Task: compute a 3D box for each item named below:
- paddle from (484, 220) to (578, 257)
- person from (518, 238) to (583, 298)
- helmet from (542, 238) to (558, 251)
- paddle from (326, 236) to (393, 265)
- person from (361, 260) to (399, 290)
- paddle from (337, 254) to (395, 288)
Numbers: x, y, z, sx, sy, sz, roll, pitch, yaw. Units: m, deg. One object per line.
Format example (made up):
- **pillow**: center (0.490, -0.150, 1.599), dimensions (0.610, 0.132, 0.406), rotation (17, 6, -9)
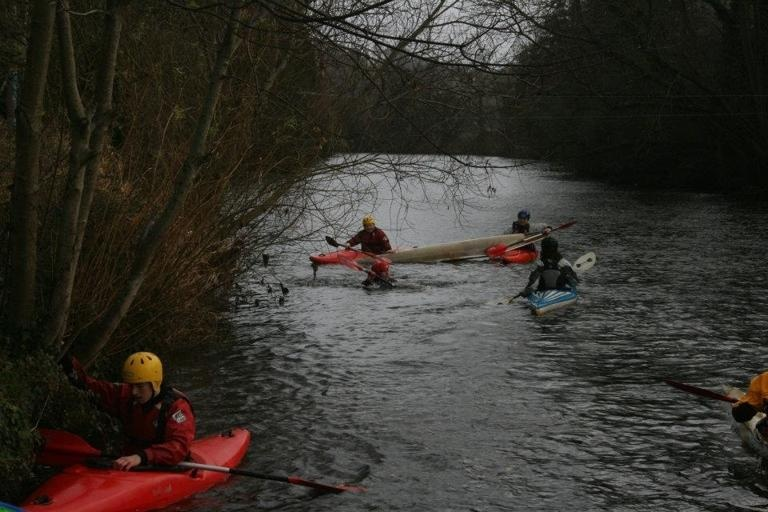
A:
- **paddle**: center (4.478, -0.530, 22.367), dimensions (4.508, 0.413, 0.721), rotation (-13, 36, -24)
- **person**: center (3.606, 0.254, 15.797), dimensions (0.785, 1.365, 0.892), rotation (-2, 11, -37)
- **helmet**: center (3.531, -0.261, 15.674), dimensions (0.293, 0.320, 0.312), rotation (5, 8, 6)
- **paddle**: center (-0.607, -0.137, 19.316), dimensions (2.610, 0.385, 0.509), rotation (12, -10, -32)
- **person**: center (-0.076, 0.385, 18.298), dimensions (0.858, 0.701, 0.951), rotation (4, 8, 0)
- **paddle**: center (-0.363, 0.383, 18.428), dimensions (1.043, 0.442, 0.943), rotation (24, -9, 36)
